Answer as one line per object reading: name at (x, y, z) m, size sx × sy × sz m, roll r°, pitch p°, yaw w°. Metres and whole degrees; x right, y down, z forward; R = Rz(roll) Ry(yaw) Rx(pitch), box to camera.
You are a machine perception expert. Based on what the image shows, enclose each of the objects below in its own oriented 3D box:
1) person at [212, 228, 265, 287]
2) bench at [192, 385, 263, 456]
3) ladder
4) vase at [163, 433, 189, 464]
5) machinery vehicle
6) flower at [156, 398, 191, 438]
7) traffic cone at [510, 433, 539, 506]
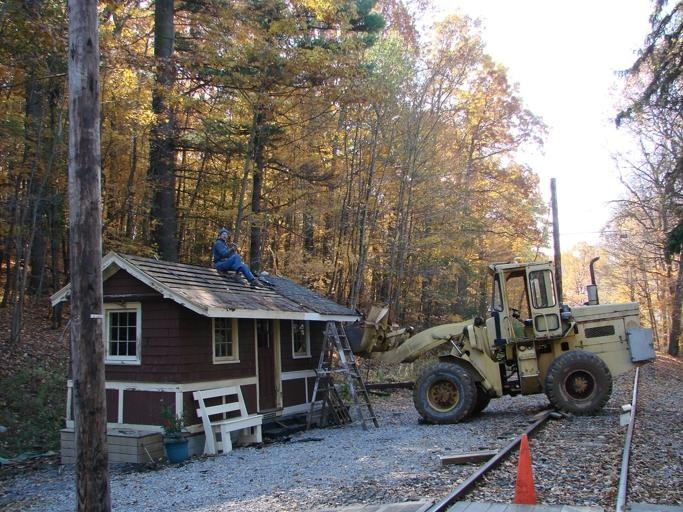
person at (-2.972, 0.053, 18.333) m, size 1.064 × 1.687 × 1.130 m, roll -5°, pitch 0°, yaw -29°
bench at (-2.772, 3.899, 15.953) m, size 0.825 × 1.666 × 1.458 m, roll -5°, pitch 0°, yaw 35°
ladder at (0.002, 3.517, 19.234) m, size 1.664 × 3.153 × 1.738 m, roll 4°, pitch -1°, yaw -37°
vase at (-3.754, 4.365, 15.004) m, size 0.626 × 0.625 × 0.621 m, roll -5°, pitch -14°, yaw 12°
machinery vehicle at (4.288, 2.169, 16.793) m, size 6.645 × 3.957 × 1.671 m, roll -5°, pitch 0°, yaw 11°
flower at (-3.844, 3.737, 15.055) m, size 0.714 × 1.017 × 0.756 m, roll -12°, pitch -13°, yaw -6°
traffic cone at (3.047, 3.550, 11.129) m, size 0.379 × 1.108 × 0.554 m, roll -5°, pitch 0°, yaw 15°
